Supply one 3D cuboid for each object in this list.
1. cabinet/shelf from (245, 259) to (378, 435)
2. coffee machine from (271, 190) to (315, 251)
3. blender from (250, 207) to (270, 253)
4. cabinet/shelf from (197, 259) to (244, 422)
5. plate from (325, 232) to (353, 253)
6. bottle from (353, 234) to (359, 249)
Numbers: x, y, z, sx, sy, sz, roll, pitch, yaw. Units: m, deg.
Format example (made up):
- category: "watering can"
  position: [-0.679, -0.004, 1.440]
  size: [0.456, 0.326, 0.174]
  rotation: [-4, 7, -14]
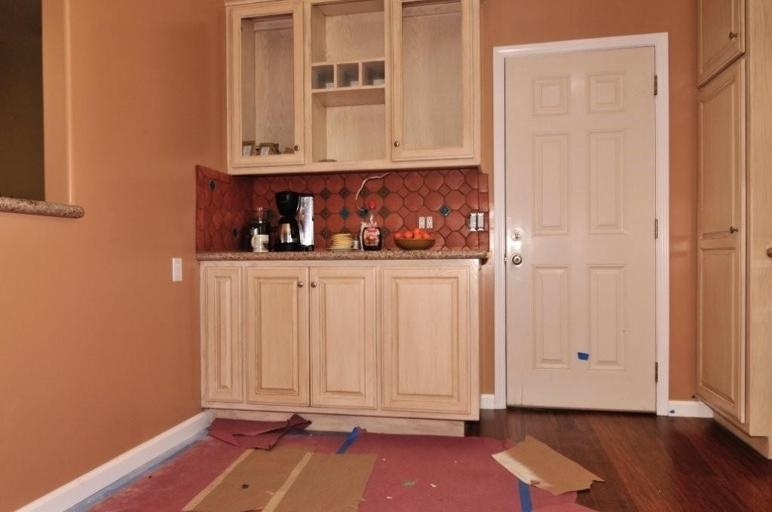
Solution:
- category: "cabinet/shelf"
  position: [-0.493, 0.612, 4.188]
  size: [1.114, 1.199, 0.560]
  rotation: [0, -2, 10]
- category: "coffee machine"
  position: [-0.695, -0.263, 4.607]
  size: [0.441, 0.508, 0.300]
  rotation: [3, -5, -31]
- category: "blender"
  position: [-0.973, -0.206, 4.641]
  size: [0.158, 0.338, 0.567]
  rotation: [-3, 4, -11]
- category: "cabinet/shelf"
  position: [-1.175, 0.560, 4.264]
  size: [0.300, 1.020, 0.127]
  rotation: [-1, 4, 15]
- category: "plate"
  position: [-0.349, -0.108, 4.615]
  size: [0.140, 0.104, 0.142]
  rotation: [0, 0, -26]
- category: "bottle"
  position: [-0.229, -0.102, 4.599]
  size: [0.047, 0.107, 0.095]
  rotation: [-3, 4, -4]
